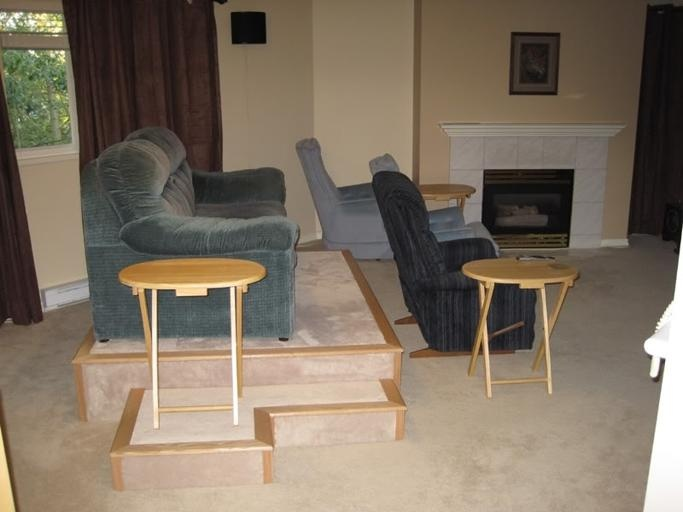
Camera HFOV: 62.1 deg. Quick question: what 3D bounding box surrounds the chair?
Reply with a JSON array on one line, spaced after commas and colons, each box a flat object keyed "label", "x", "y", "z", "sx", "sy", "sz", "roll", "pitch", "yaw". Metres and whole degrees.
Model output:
[{"label": "chair", "x": 0.668, "y": -0.091, "z": 4.569, "sx": 1.031, "sy": 0.809, "sz": 1.840, "roll": -5, "pitch": 21, "yaw": -5}]

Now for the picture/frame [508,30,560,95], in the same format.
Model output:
[{"label": "picture/frame", "x": 1.983, "y": -2.041, "z": 5.890, "sx": 0.608, "sy": 0.703, "sz": 0.054, "roll": -1, "pitch": 12, "yaw": -3}]

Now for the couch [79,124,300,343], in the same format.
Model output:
[{"label": "couch", "x": -0.973, "y": -0.119, "z": 4.065, "sx": 1.152, "sy": 1.079, "sz": 1.863, "roll": 4, "pitch": 7, "yaw": -1}]
